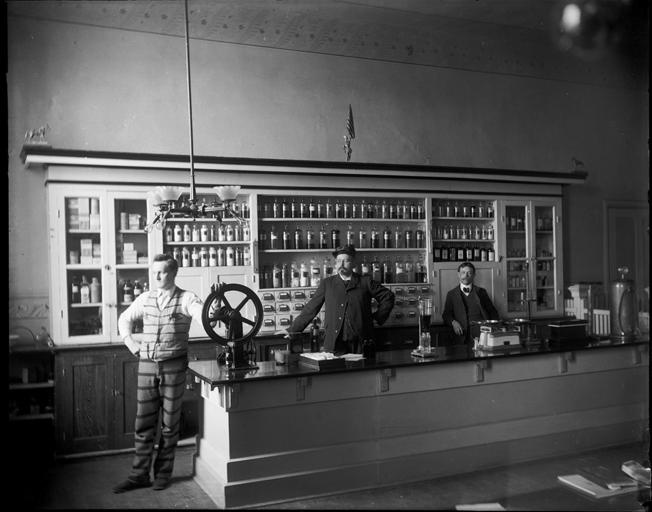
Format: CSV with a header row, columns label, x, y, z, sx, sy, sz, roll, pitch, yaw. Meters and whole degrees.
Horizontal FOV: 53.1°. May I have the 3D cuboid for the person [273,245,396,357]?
label,x,y,z,sx,sy,sz,roll,pitch,yaw
person,0.024,0.428,5.910,0.801,1.271,0.462,-1,-10,1

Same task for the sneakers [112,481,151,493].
label,x,y,z,sx,sy,sz,roll,pitch,yaw
sneakers,-1.451,1.697,4.857,0.255,0.122,0.090,5,-7,-21

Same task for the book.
label,x,y,z,sx,sy,sz,roll,pitch,yaw
book,1.683,1.307,3.789,0.663,0.104,0.316,-3,-1,-27

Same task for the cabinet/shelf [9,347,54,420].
label,x,y,z,sx,sy,sz,roll,pitch,yaw
cabinet/shelf,-2.380,1.035,5.301,0.343,0.596,0.247,-2,-1,-33

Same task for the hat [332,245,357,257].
label,x,y,z,sx,sy,sz,roll,pitch,yaw
hat,0.160,-0.050,5.704,0.139,0.070,0.109,7,3,32

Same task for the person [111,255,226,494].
label,x,y,z,sx,sy,sz,roll,pitch,yaw
person,-1.288,0.856,4.948,0.655,1.253,1.008,-2,-1,-32

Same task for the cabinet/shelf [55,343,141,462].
label,x,y,z,sx,sy,sz,roll,pitch,yaw
cabinet/shelf,-1.910,1.236,5.384,0.827,1.003,0.374,1,-5,-20
